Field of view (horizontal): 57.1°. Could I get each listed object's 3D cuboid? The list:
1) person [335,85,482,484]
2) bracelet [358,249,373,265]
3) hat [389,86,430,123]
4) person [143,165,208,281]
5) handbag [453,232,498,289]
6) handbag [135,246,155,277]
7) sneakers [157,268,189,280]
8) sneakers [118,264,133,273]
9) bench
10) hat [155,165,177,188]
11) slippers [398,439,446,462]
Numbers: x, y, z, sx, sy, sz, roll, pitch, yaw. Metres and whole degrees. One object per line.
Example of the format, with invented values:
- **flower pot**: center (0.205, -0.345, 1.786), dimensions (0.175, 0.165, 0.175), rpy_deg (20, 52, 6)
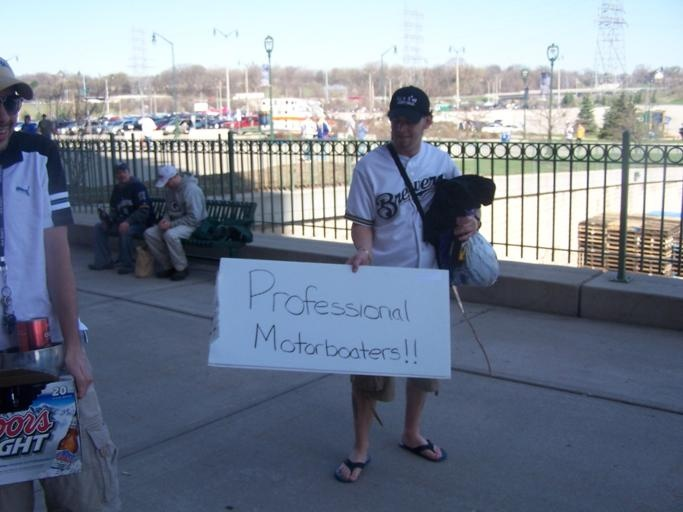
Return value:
- **person**: center (0.347, 0.188, 3.801), dimensions (0.835, 2.348, 0.557), rpy_deg (-2, 11, -3)
- **bracelet**: center (0.135, 0.006, 3.617), dimensions (0.054, 0.128, 0.152), rpy_deg (8, -1, -3)
- **hat**: center (0.383, -0.856, 3.551), dimensions (0.152, 0.150, 0.236), rpy_deg (9, 20, 20)
- **person**: center (-2.287, -0.515, 8.808), dimensions (0.726, 1.525, 0.756), rpy_deg (5, 13, 28)
- **handbag**: center (0.795, 0.016, 3.732), dimensions (0.253, 0.312, 0.204), rpy_deg (0, 12, 9)
- **handbag**: center (-2.735, 0.091, 8.753), dimensions (0.141, 0.402, 0.353), rpy_deg (2, 4, 11)
- **sneakers**: center (-2.363, 0.255, 8.654), dimensions (0.444, 0.132, 0.279), rpy_deg (-1, 14, 3)
- **sneakers**: center (-3.101, 0.184, 9.040), dimensions (0.088, 0.152, 0.214), rpy_deg (4, -1, 8)
- **bench**: center (-2.383, -0.315, 9.035), dimensions (2.063, 1.145, 0.821), rpy_deg (8, 5, 7)
- **hat**: center (-2.408, -1.104, 8.671), dimensions (0.273, 0.296, 0.412), rpy_deg (-6, 14, -16)
- **slippers**: center (0.543, 1.250, 4.099), dimensions (0.221, 0.083, 0.116), rpy_deg (1, 16, 38)
